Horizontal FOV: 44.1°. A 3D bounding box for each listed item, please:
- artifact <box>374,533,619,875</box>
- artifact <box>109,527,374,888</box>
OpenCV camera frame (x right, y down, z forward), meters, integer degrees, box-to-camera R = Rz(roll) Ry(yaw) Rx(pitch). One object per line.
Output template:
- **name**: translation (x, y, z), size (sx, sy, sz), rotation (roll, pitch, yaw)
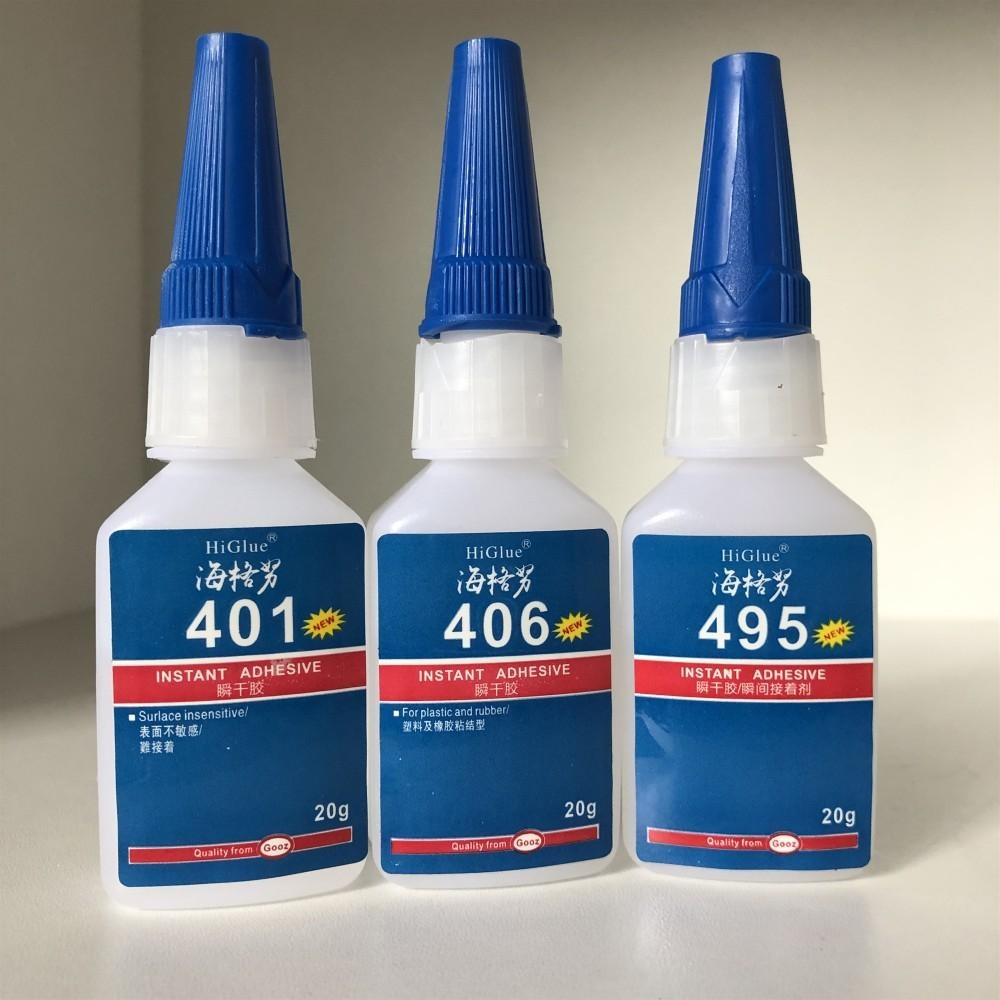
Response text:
- **artifact**: translation (-0.001, 0.068, 0.571), size (0.119, 0.224, 0.037), rotation (-3, 19, -8)
- **artifact**: translation (-0.116, 0.067, 0.559), size (0.115, 0.226, 0.045), rotation (-3, 16, -17)
